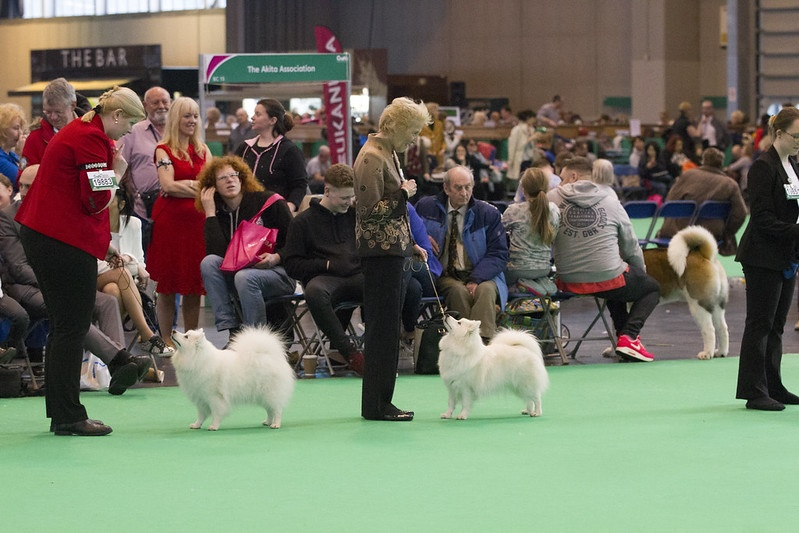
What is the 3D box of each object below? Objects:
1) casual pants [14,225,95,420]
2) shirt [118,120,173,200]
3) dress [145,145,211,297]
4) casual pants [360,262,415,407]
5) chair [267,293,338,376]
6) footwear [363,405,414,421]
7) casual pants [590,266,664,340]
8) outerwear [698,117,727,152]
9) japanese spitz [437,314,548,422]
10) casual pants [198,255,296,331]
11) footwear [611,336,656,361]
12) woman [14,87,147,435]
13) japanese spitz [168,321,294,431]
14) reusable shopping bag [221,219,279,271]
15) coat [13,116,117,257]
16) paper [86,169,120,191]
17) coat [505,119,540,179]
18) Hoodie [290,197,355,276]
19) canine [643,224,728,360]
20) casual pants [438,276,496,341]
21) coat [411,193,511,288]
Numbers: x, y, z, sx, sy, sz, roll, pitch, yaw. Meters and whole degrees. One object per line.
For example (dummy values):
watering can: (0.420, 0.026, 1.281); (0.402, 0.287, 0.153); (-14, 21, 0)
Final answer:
casual pants: (-2.268, 0.340, 7.104); (0.421, 1.448, 0.508); (2, 0, -32)
shirt: (-2.124, -0.915, 8.920); (0.596, 0.584, 0.191); (-11, 11, -42)
dress: (-1.859, -0.174, 8.842); (0.520, 0.846, 0.282); (0, 9, -2)
casual pants: (-0.116, 0.421, 7.445); (0.344, 1.332, 0.442); (-1, 12, -6)
chair: (-0.862, 0.595, 9.147); (0.418, 0.603, 0.496); (-3, -4, -28)
footwear: (-0.063, 1.054, 7.391); (0.218, 0.092, 0.158); (-3, -4, 4)
casual pants: (1.991, 0.417, 9.300); (0.379, 0.803, 0.401); (8, -4, 39)
outerwear: (6.688, -2.874, 22.848); (0.773, 0.854, 0.467); (-3, -9, 20)
japanese spitz: (0.667, 0.732, 7.469); (0.771, 0.728, 0.411); (2, -3, -14)
casual pants: (-1.278, 0.167, 8.712); (0.605, 0.682, 0.601); (-7, 14, -9)
footwear: (2.045, 0.722, 9.167); (0.403, 0.218, 0.158); (20, -4, -26)
woman: (-2.176, -0.027, 7.239); (0.870, 2.368, 0.949); (-1, 6, -29)
japanese spitz: (-1.126, 0.770, 7.179); (0.811, 0.735, 0.429); (2, -7, -25)
reusable shopping bag: (-1.231, -0.172, 8.510); (0.309, 0.443, 0.170); (24, -19, -1)
coat: (-2.185, -0.519, 6.955); (0.596, 0.933, 0.306); (-2, 9, -15)
paper: (-1.938, -0.559, 6.880); (0.119, 0.116, 0.018); (-8, -10, -23)
coat: (2.359, -2.160, 20.227); (0.535, 1.408, 0.437); (17, -19, -24)
Hoodie: (-0.645, -0.205, 8.687); (0.613, 0.662, 0.292); (-1, 9, -8)
canine: (2.438, 0.244, 9.856); (0.497, 1.129, 1.700); (-3, -2, -24)
casual pants: (0.542, 0.352, 8.424); (0.344, 0.383, 0.231); (12, -33, 8)
coat: (0.533, -0.315, 9.189); (1.012, 0.939, 0.605); (2, 8, 5)
